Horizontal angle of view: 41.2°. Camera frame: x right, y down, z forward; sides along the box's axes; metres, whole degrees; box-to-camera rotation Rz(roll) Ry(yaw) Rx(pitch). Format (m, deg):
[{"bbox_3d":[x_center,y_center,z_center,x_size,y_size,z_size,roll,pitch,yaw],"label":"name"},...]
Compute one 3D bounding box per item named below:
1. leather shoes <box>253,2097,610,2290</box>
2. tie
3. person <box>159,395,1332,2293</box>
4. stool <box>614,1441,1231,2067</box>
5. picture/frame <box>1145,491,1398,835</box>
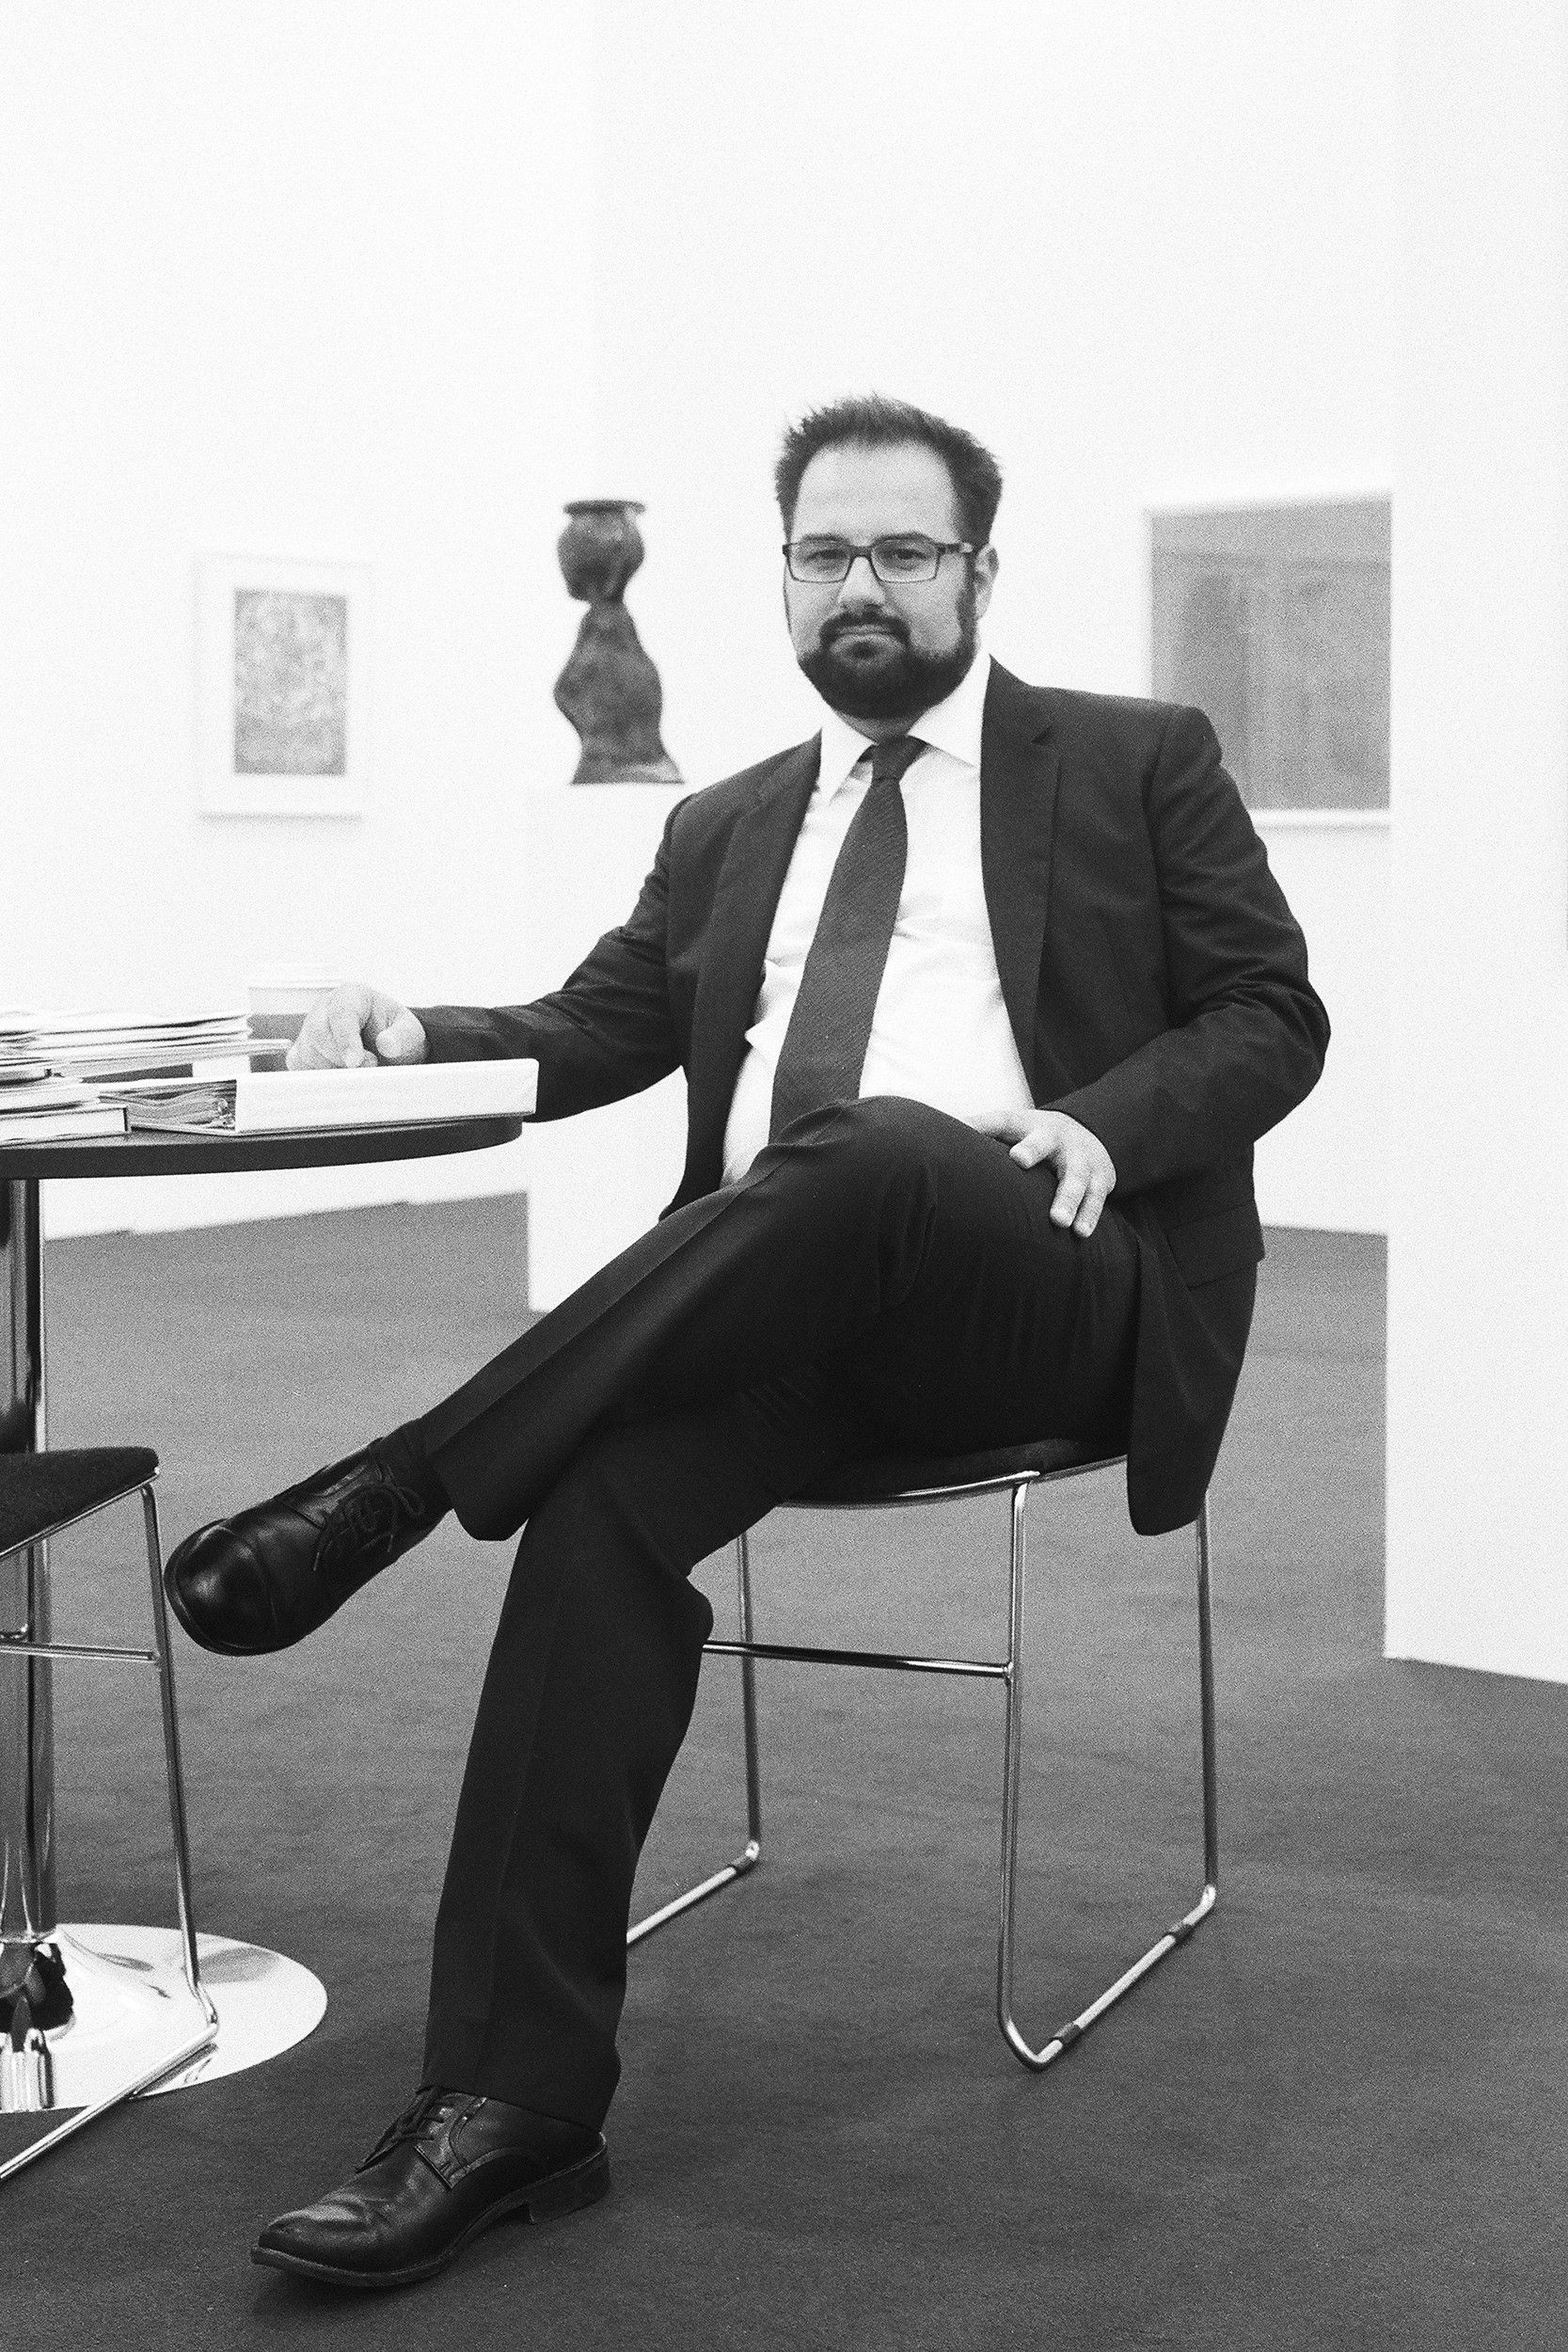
[{"bbox_3d":[-0.204,0.562,1.232,0.073,0.112,0.216,-4,-7,38],"label":"leather shoes"},{"bbox_3d":[0.054,-0.204,1.816,0.111,0.050,0.571,-3,-27,-10],"label":"tie"},{"bbox_3d":[-0.059,-0.019,1.658,0.669,1.363,1.051,0,-1,41],"label":"person"},{"bbox_3d":[0.074,0.475,1.830,0.445,0.394,0.457,-1,-6,15],"label":"stool"},{"bbox_3d":[1.640,-1.661,7.048,0.842,1.182,0.044,6,-26,7],"label":"picture/frame"}]
